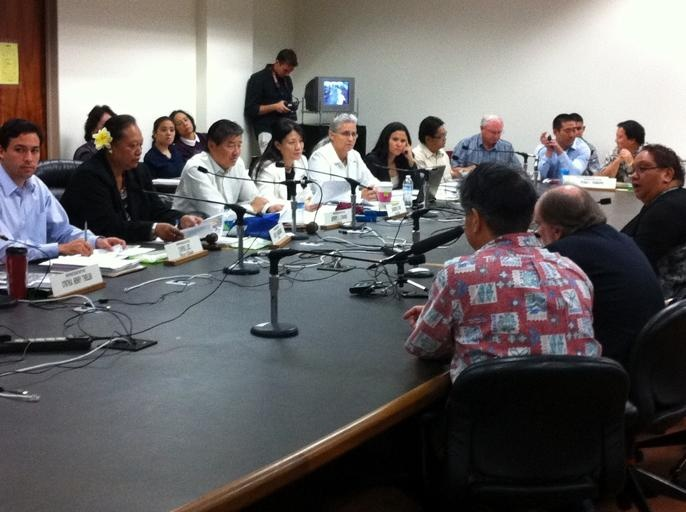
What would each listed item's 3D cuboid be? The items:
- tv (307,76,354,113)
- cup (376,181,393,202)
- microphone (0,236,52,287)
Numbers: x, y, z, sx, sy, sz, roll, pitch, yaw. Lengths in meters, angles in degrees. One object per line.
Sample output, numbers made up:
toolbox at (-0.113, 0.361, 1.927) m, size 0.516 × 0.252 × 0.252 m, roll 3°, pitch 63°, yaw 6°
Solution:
tv at (-0.144, -2.134, 6.989) m, size 0.576 × 0.414 × 0.555 m, roll -3°, pitch 11°, yaw -15°
cup at (0.298, -0.471, 3.871) m, size 0.148 × 0.153 × 0.145 m, roll -2°, pitch 4°, yaw 0°
microphone at (-1.313, 0.025, 2.180) m, size 0.211 × 0.226 × 0.096 m, roll 4°, pitch 3°, yaw 0°
